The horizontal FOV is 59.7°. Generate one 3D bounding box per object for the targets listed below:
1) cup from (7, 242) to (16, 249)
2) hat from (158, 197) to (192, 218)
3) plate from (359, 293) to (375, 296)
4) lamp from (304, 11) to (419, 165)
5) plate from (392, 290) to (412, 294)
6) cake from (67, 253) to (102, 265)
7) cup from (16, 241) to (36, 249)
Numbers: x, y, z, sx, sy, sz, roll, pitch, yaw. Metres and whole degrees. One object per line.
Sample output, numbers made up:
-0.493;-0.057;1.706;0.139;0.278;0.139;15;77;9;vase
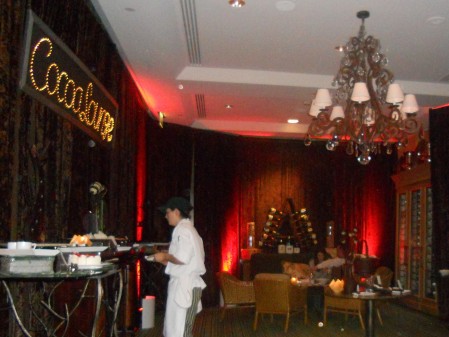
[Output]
-1.419;0.508;2.609;0.043;0.036;0.046;1;-11;0;cup
-0.494;0.373;3.924;0.293;0.182;0.217;16;-8;5;hat
1.717;1.513;4.703;0.190;0.048;0.212;-3;-15;16;plate
1.710;-1.001;4.721;1.251;2.005;1.350;2;11;32;lamp
2.231;1.555;4.918;0.248;0.044;0.268;-4;-15;16;plate
-1.048;0.678;2.919;0.124;0.047;0.131;5;-4;-3;cake
-1.336;0.522;2.664;0.137;0.053;0.079;12;-15;-44;cup
